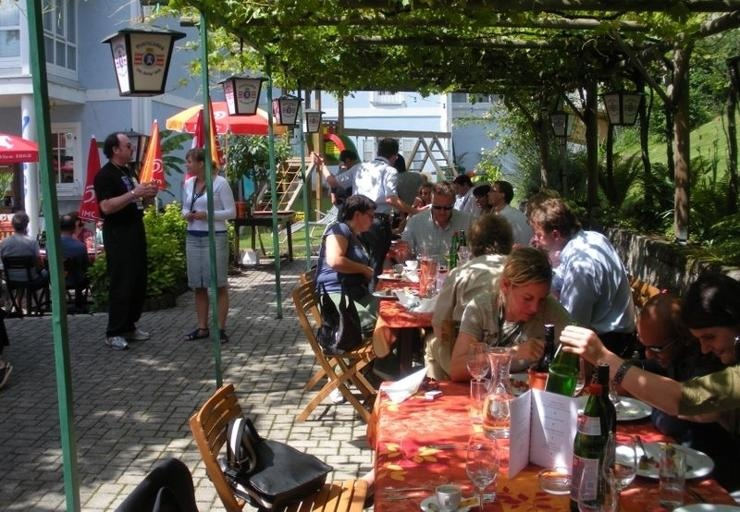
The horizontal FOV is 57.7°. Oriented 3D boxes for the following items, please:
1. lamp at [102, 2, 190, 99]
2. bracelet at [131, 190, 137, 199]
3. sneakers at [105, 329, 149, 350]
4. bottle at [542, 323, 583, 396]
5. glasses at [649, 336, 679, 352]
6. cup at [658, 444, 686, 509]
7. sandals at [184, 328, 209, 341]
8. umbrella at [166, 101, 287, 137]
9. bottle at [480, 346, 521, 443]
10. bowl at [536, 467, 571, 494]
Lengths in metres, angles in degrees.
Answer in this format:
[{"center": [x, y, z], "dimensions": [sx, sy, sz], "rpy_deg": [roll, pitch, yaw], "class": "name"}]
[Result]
[{"center": [-2.357, -2.075, 7.024], "dimensions": [0.734, 0.782, 0.775], "rpy_deg": [1, 9, -14], "class": "lamp"}, {"center": [-3.000, -0.766, 8.528], "dimensions": [0.089, 0.086, 0.087], "rpy_deg": [1, 13, -1], "class": "bracelet"}, {"center": [-3.319, 1.139, 9.151], "dimensions": [0.585, 0.262, 0.219], "rpy_deg": [-10, 15, -10], "class": "sneakers"}, {"center": [1.116, 0.611, 3.879], "dimensions": [0.142, 0.559, 0.135], "rpy_deg": [3, 39, -2], "class": "bottle"}, {"center": [1.977, 0.599, 4.543], "dimensions": [0.129, 0.039, 0.123], "rpy_deg": [-21, -5, -38], "class": "glasses"}, {"center": [1.524, 1.103, 3.376], "dimensions": [0.121, 0.284, 0.164], "rpy_deg": [1, 6, 24], "class": "cup"}, {"center": [-2.427, 1.091, 9.394], "dimensions": [0.268, 0.117, 0.141], "rpy_deg": [2, 4, -20], "class": "sandals"}, {"center": [-3.192, -2.981, 14.737], "dimensions": [2.012, 0.682, 2.024], "rpy_deg": [-2, 4, -3], "class": "umbrella"}, {"center": [0.750, 0.801, 3.926], "dimensions": [0.160, 0.457, 0.410], "rpy_deg": [0, 6, 12], "class": "bottle"}, {"center": [0.974, 1.166, 3.513], "dimensions": [0.151, 0.087, 0.172], "rpy_deg": [0, 5, 15], "class": "bowl"}]
